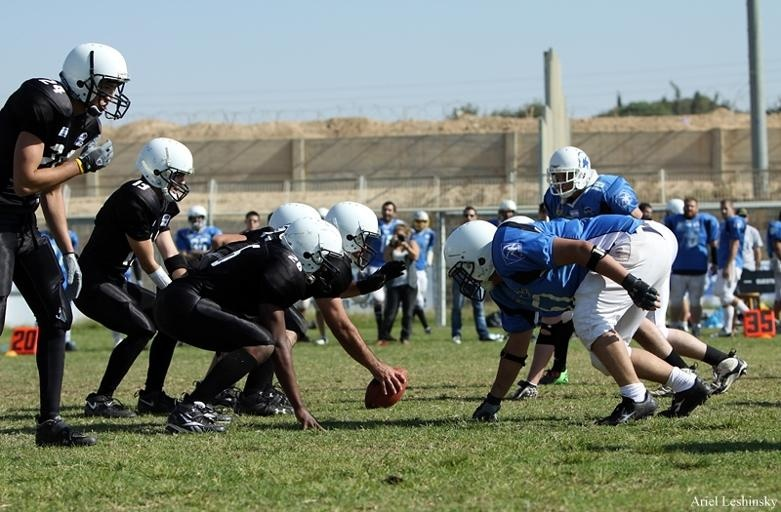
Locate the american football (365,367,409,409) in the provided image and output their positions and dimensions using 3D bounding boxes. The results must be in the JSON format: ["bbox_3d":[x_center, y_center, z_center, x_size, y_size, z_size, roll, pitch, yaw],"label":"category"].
[{"bbox_3d":[-0.086,1.224,10.422,0.290,0.237,0.396,1,33,25],"label":"american football"}]

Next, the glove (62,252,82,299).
[{"bbox_3d":[-2.780,0.179,9.917,0.124,0.351,0.233,-2,11,8],"label":"glove"}]

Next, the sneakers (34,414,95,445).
[{"bbox_3d":[-2.688,1.447,9.576,0.502,0.240,0.164,-1,1,14],"label":"sneakers"}]

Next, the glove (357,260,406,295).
[{"bbox_3d":[-0.050,0.250,10.669,0.435,0.133,0.264,-23,24,10],"label":"glove"}]

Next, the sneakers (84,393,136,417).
[{"bbox_3d":[-2.578,1.368,10.681,0.427,0.156,0.211,1,-2,6],"label":"sneakers"}]

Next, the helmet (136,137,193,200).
[{"bbox_3d":[-2.050,-0.782,10.594,0.561,0.512,0.409,14,12,14],"label":"helmet"}]

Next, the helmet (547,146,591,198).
[{"bbox_3d":[1.822,-0.828,11.631,0.416,0.456,0.593,-3,8,44],"label":"helmet"}]

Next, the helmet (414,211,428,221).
[{"bbox_3d":[0.457,-0.566,16.419,0.172,0.132,0.130,20,-10,-38],"label":"helmet"}]

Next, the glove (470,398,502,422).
[{"bbox_3d":[0.838,1.367,10.224,0.249,0.232,0.154,15,-9,17],"label":"glove"}]

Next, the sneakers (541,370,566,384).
[{"bbox_3d":[1.687,1.243,11.805,0.309,0.136,0.107,0,2,12],"label":"sneakers"}]

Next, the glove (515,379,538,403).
[{"bbox_3d":[1.303,1.296,11.115,0.220,0.196,0.154,-17,7,2],"label":"glove"}]

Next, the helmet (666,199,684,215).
[{"bbox_3d":[4.189,-0.690,16.786,0.215,0.246,0.255,10,8,-2],"label":"helmet"}]

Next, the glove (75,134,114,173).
[{"bbox_3d":[-2.586,-0.816,9.787,0.385,0.146,0.277,-16,21,31],"label":"glove"}]
